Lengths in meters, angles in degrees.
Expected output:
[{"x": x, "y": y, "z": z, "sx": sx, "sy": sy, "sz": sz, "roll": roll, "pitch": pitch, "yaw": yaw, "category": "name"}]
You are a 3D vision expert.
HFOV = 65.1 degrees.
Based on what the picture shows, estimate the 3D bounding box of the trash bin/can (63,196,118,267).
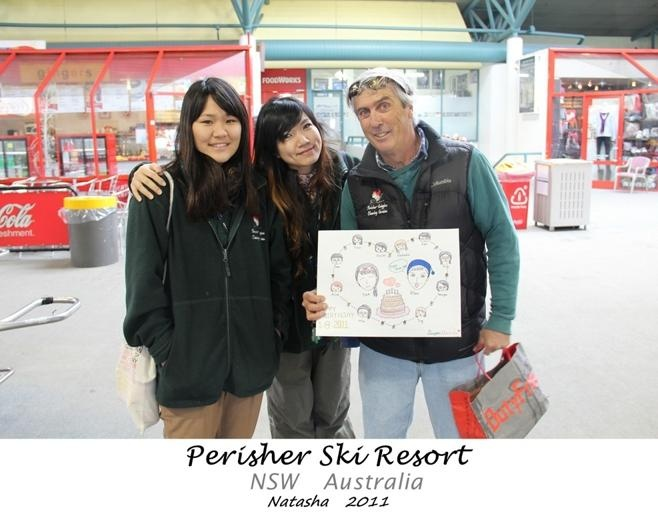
[{"x": -2.977, "y": -0.345, "z": 6.937, "sx": 0.793, "sy": 0.917, "sz": 0.836, "roll": -2, "pitch": 9, "yaw": -10, "category": "trash bin/can"}]

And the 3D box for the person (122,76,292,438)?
[{"x": -0.458, "y": 0.047, "z": 1.970, "sx": 0.645, "sy": 1.398, "sz": 0.335, "roll": -7, "pitch": 14, "yaw": -24, "category": "person"}]

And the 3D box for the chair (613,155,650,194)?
[{"x": 7.620, "y": -2.040, "z": 12.950, "sx": 0.879, "sy": 1.198, "sz": 0.820, "roll": -8, "pitch": 11, "yaw": -40, "category": "chair"}]

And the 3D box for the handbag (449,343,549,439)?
[{"x": 0.640, "y": 0.543, "z": 1.975, "sx": 0.427, "sy": 0.347, "sz": 0.165, "roll": -22, "pitch": 9, "yaw": -26, "category": "handbag"}]
